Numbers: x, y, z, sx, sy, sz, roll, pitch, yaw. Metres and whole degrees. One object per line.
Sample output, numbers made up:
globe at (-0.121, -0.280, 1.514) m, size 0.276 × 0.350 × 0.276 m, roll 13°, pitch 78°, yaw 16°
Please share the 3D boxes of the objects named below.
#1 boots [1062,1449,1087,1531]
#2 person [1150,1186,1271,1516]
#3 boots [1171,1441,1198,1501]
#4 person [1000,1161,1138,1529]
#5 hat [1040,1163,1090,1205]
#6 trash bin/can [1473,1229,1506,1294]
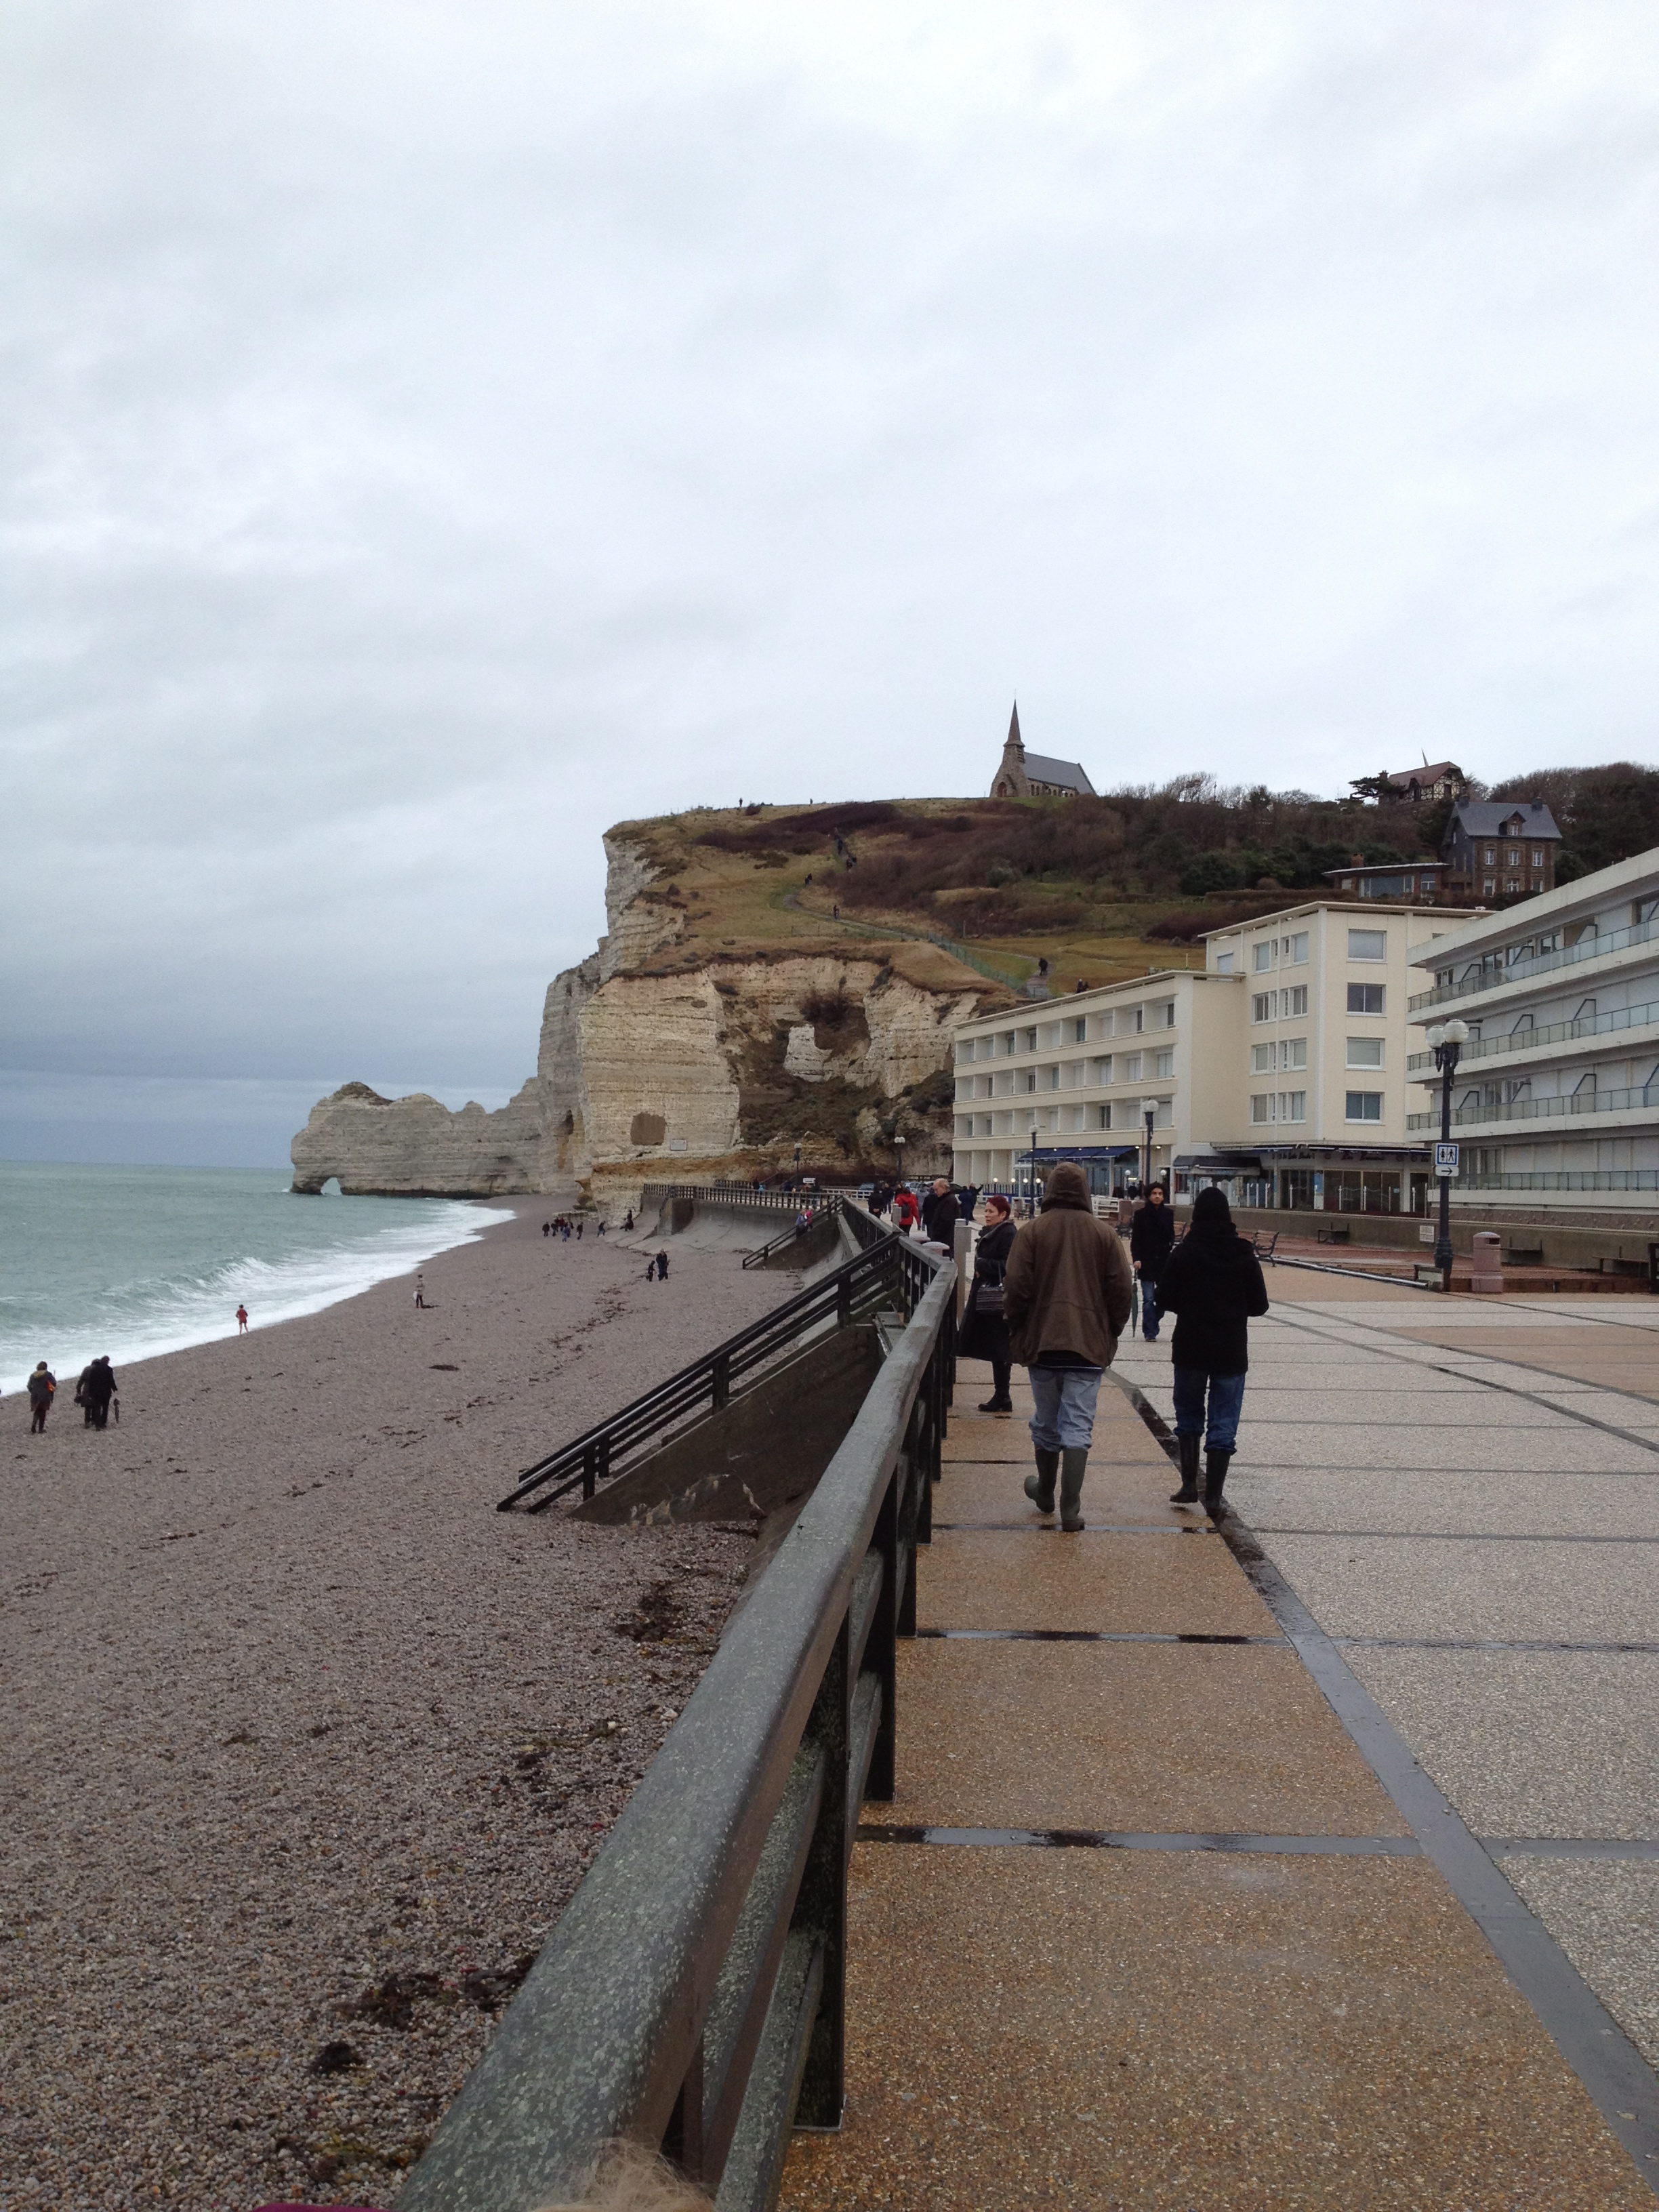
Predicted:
boots at (1.044, 1.654, 7.393) m, size 0.112 × 0.320 × 0.231 m, roll 0°, pitch -34°, yaw 6°
person at (1.801, 1.116, 8.047) m, size 0.475 × 1.515 × 1.216 m, roll -5°, pitch -1°, yaw 12°
boots at (1.638, 1.688, 7.964) m, size 0.139 × 0.275 × 0.365 m, roll -5°, pitch -1°, yaw 10°
person at (1.043, 1.150, 7.682) m, size 0.518 × 1.516 × 0.790 m, roll -5°, pitch -1°, yaw 25°
hat at (1.135, 0.387, 8.206) m, size 0.163 × 0.215 × 0.214 m, roll 10°, pitch 37°, yaw 5°
trash bin/can at (9.119, 2.140, 23.824) m, size 0.381 × 0.865 × 1.633 m, roll -5°, pitch -1°, yaw 21°
